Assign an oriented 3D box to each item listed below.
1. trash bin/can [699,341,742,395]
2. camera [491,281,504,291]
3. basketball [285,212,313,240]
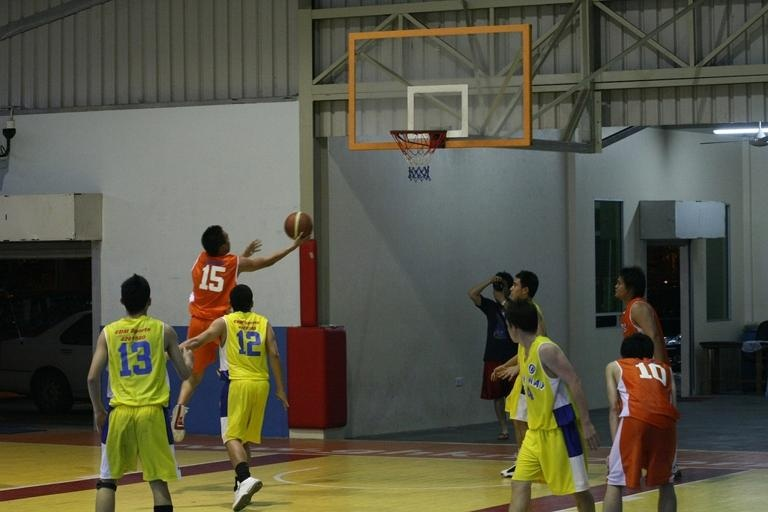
[{"bbox_3d":[7.477,2.450,20.536,0.736,1.151,2.045,-1,-2,24],"label":"trash bin/can"},{"bbox_3d":[1.550,0.406,12.598,0.102,0.119,0.118,0,-18,10],"label":"camera"},{"bbox_3d":[-1.144,-0.406,12.160,0.349,0.411,0.377,4,-5,3],"label":"basketball"}]
